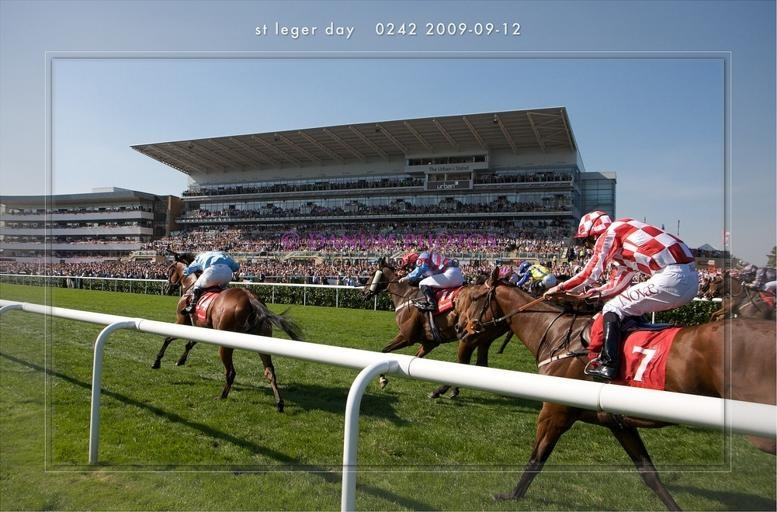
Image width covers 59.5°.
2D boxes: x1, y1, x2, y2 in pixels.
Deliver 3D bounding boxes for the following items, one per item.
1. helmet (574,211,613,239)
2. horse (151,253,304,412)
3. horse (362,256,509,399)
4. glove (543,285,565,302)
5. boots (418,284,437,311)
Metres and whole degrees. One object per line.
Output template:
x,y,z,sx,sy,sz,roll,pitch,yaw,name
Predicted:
1.324,-0.202,4.454,0.169,0.118,0.219,-9,7,-6,helmet
-1.438,0.595,5.844,0.437,1.194,2.024,5,0,-44,horse
0.466,0.642,6.142,1.706,1.210,0.513,0,-4,37,horse
1.081,0.247,4.435,0.083,0.111,0.030,39,15,-48,glove
0.360,0.374,5.987,0.215,0.112,0.225,1,29,5,boots
